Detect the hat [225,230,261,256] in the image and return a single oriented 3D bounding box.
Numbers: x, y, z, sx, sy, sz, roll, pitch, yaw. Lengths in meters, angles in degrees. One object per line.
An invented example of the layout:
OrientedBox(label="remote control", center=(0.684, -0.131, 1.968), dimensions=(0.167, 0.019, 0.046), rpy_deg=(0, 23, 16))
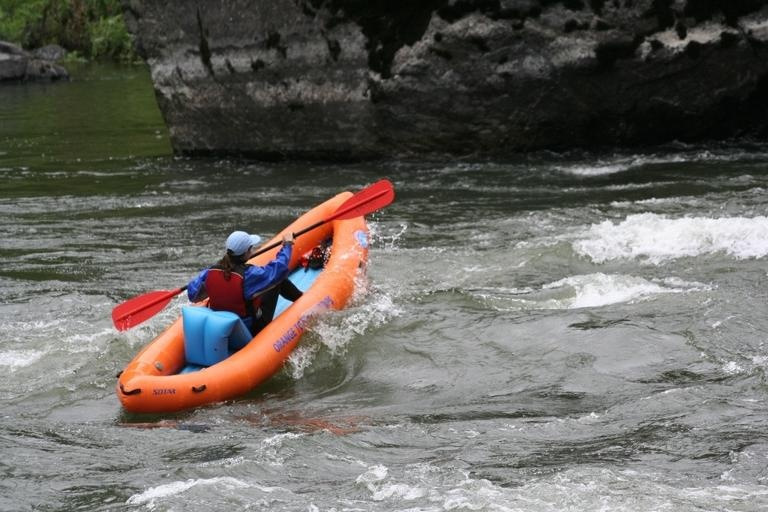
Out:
OrientedBox(label="hat", center=(-1.746, -0.176, 13.574), dimensions=(0.328, 0.149, 0.439), rpy_deg=(3, 21, 29))

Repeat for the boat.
OrientedBox(label="boat", center=(-1.389, 0.752, 13.941), dimensions=(1.810, 0.781, 4.215), rpy_deg=(31, 51, 32))
